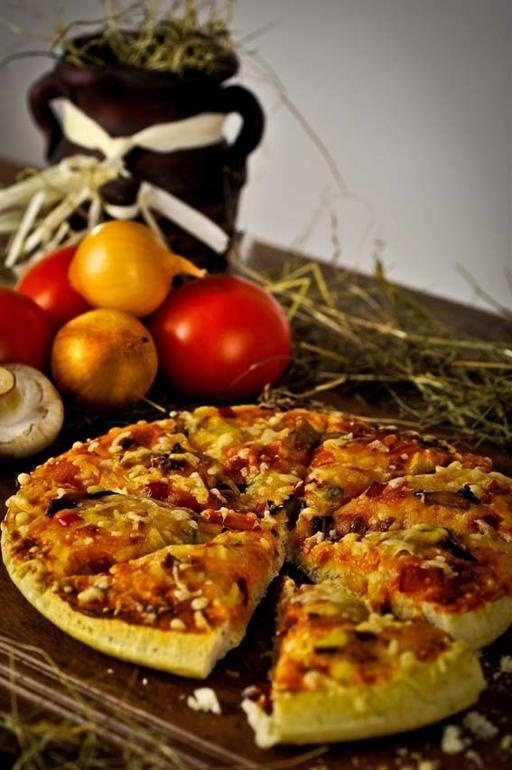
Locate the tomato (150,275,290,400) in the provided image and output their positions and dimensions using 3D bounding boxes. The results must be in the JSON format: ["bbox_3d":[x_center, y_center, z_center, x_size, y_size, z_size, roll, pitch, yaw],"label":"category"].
[{"bbox_3d":[-0.078,-0.097,1.380,0.292,0.202,0.275,3,12,20],"label":"tomato"}]

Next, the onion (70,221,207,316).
[{"bbox_3d":[-0.251,-0.201,1.258,0.220,0.147,0.162,-9,24,-20],"label":"onion"}]

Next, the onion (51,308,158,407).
[{"bbox_3d":[-0.229,-0.039,1.205,0.170,0.144,0.180,29,-2,-6],"label":"onion"}]
